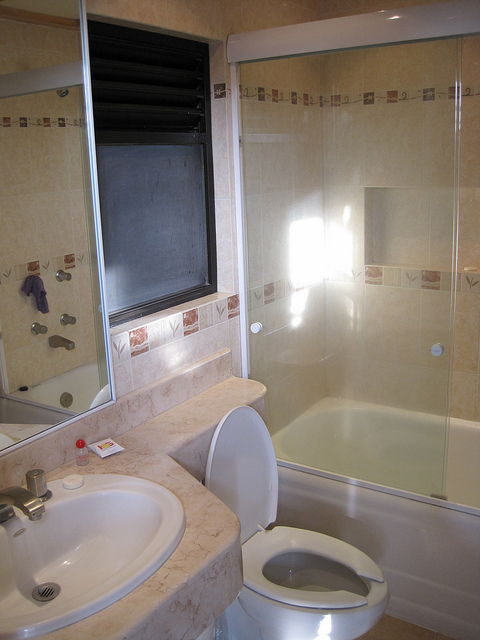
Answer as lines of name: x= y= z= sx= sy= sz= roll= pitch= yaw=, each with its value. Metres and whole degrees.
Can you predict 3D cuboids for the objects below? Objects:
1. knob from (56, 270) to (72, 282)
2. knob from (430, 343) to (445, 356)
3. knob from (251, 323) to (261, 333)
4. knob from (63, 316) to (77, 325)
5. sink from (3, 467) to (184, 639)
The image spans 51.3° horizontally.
knob: x=-0.456 y=-0.111 z=1.293 sx=0.025 sy=0.025 sz=0.024 roll=20 pitch=-5 yaw=38
knob: x=0.703 y=0.104 z=1.774 sx=0.031 sy=0.039 sz=0.019 roll=-24 pitch=-3 yaw=41
knob: x=0.068 y=0.033 z=2.153 sx=0.026 sy=0.029 sz=0.015 roll=16 pitch=22 yaw=6
knob: x=-0.449 y=0.000 z=1.314 sx=0.028 sy=0.018 sz=0.016 roll=6 pitch=-11 yaw=39
sink: x=-0.277 y=0.413 z=0.998 sx=0.241 sy=0.136 sz=0.261 roll=11 pitch=18 yaw=31
